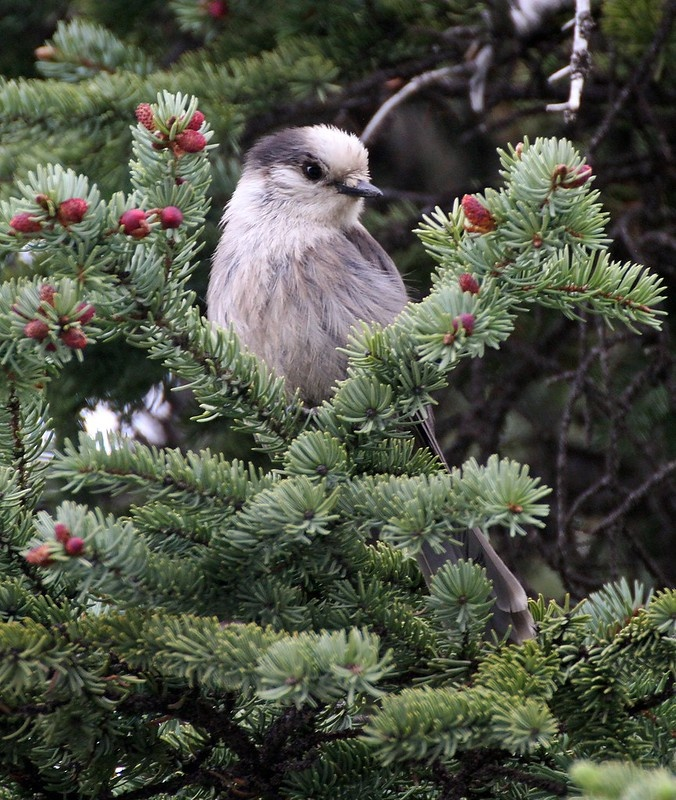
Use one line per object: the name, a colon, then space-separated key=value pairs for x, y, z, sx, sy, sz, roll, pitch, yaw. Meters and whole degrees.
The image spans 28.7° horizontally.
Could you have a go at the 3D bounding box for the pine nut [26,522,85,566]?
pine nut: x=-0.589 y=0.320 z=2.745 sx=0.078 sy=0.045 sz=0.115 roll=17 pitch=39 yaw=-6
